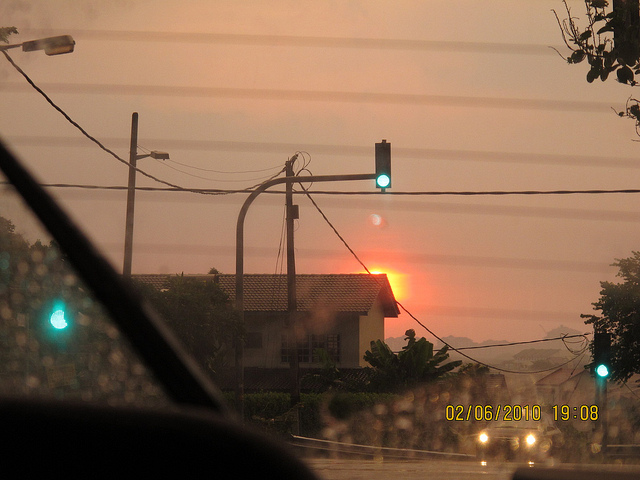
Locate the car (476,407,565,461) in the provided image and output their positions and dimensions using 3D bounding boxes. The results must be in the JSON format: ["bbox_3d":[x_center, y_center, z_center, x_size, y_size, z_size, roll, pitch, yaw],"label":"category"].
[{"bbox_3d":[3.600,3.518,26.611,0.958,0.706,2.059,-2,-18,14],"label":"car"}]

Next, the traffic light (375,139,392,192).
[{"bbox_3d":[1.294,-1.682,30.116,0.283,0.964,0.506,0,-19,-2],"label":"traffic light"}]

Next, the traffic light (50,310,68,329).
[{"bbox_3d":[-3.633,1.051,20.457,0.276,0.262,0.121,-10,-21,27],"label":"traffic light"}]
